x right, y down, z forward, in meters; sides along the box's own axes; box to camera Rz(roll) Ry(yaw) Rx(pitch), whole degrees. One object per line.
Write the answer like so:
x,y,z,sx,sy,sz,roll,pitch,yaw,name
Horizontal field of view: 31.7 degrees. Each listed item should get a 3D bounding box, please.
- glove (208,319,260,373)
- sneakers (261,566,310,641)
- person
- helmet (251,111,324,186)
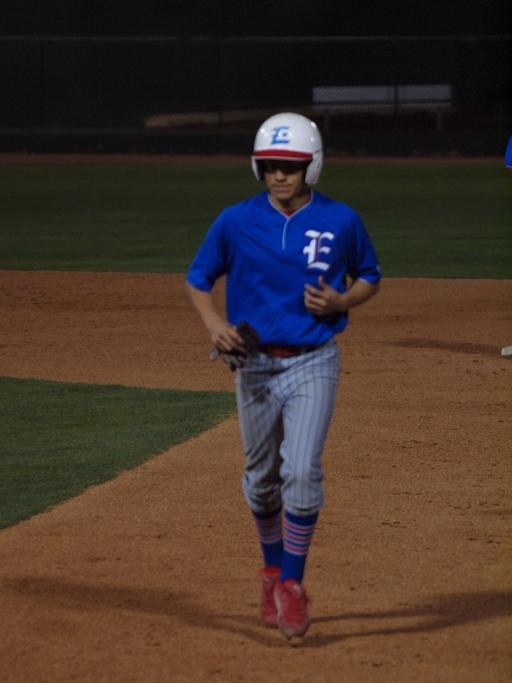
-0.071,0.015,3.114,0.179,0.153,0.041,-32,28,18,glove
0.091,0.904,3.148,0.109,0.117,0.278,12,16,-30,sneakers
0.044,0.117,3.196,0.630,1.811,0.630,4,15,15,person
0.115,-0.662,3.108,0.221,0.209,0.286,2,17,16,helmet
